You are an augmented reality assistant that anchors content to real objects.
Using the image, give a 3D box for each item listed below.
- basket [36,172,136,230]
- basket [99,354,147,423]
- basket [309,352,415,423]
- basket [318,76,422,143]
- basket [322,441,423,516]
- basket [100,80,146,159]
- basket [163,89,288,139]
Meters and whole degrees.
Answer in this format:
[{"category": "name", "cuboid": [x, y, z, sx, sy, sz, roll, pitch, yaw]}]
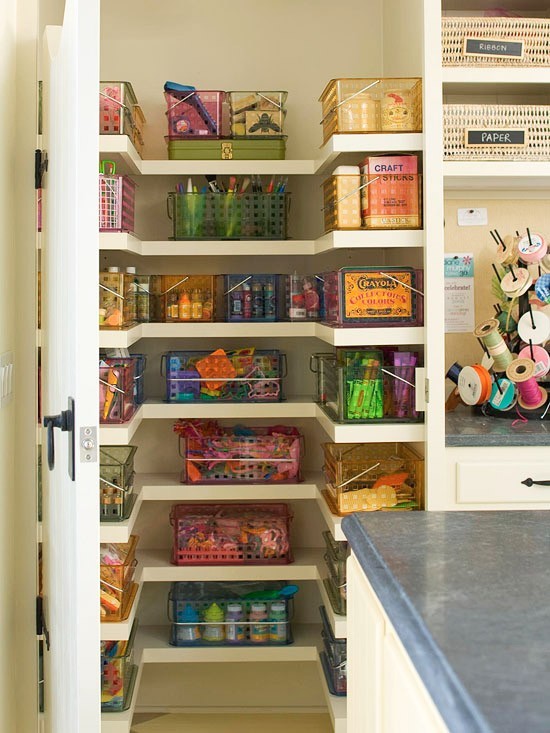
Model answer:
[{"category": "basket", "cuboid": [-0.515, -0.452, 2.126, 0.228, 0.137, 0.222, 2, 4, 6]}, {"category": "basket", "cuboid": [-0.440, 0.061, 2.132, 0.119, 0.124, 0.196, 0, 1, -3]}, {"category": "basket", "cuboid": [0.271, 0.053, 2.131, 0.275, 0.172, 0.192, 0, 5, 4]}, {"category": "basket", "cuboid": [0.276, -0.692, 2.044, 0.206, 0.096, 0.204, 0, 8, 6]}, {"category": "basket", "cuboid": [0.293, 0.312, 2.145, 0.229, 0.157, 0.226, 0, -2, 2]}, {"category": "basket", "cuboid": [-0.476, -0.769, 2.270, 0.097, 0.192, 0.405, 4, 4, -5]}, {"category": "basket", "cuboid": [-0.161, -0.837, 2.423, 0.394, 0.192, 0.133, 4, 3, 2]}]
